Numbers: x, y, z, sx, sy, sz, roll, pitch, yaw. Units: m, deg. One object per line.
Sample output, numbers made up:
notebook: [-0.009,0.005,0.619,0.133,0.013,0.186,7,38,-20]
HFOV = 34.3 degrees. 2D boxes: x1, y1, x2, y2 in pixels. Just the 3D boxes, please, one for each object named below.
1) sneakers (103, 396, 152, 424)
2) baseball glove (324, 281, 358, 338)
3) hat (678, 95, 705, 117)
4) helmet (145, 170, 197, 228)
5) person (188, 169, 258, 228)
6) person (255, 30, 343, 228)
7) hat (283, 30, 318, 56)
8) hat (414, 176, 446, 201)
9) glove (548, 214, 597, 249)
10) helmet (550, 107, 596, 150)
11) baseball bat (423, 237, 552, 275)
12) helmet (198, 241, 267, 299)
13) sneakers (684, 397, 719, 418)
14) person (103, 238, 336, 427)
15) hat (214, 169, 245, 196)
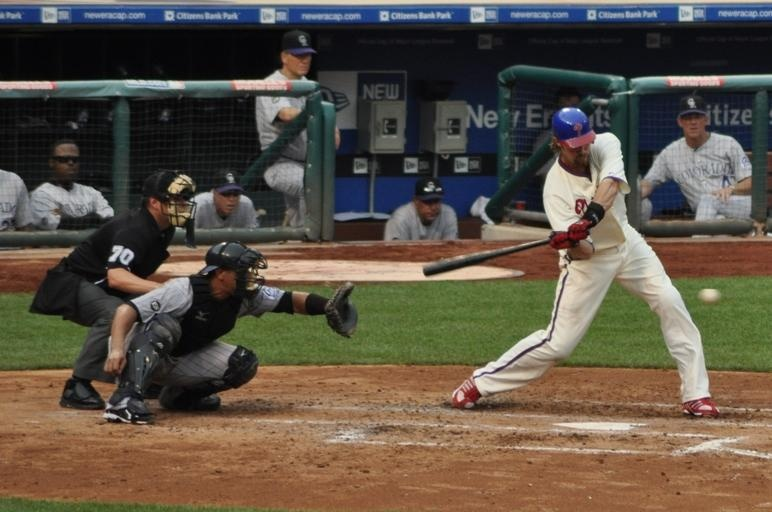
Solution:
sneakers: [-1.902,1.130,9.171,0.351,0.205,0.139,1,3,-8]
baseball glove: [-0.334,0.399,9.390,0.222,0.422,0.222,3,-21,-4]
hat: [3.340,-1.664,13.644,0.249,0.142,0.315,0,-1,16]
helmet: [-1.736,-0.476,9.675,0.487,0.344,0.320,14,0,-5]
person: [-1.696,-0.554,13.166,0.676,0.335,0.754,0,4,-16]
person: [-1.134,-1.377,13.527,0.592,2.097,0.476,1,3,-5]
hat: [-0.997,-2.314,13.475,0.290,0.171,0.409,-7,11,-36]
hat: [0.448,-0.729,13.438,0.309,0.237,0.215,1,3,7]
glove: [1.343,-0.188,9.076,0.325,0.115,0.214,-19,1,-2]
helmet: [1.388,-0.989,9.308,0.286,0.151,0.317,-20,41,-14]
baseball bat: [1.001,0.001,12.338,1.341,0.107,0.154,-11,27,6]
helmet: [-1.212,0.065,9.329,0.660,0.304,0.398,7,6,1]
sneakers: [2.348,1.136,9.379,0.150,0.095,0.284,0,-3,-45]
person: [-1.368,0.560,9.377,1.404,1.334,0.555,1,3,-3]
hat: [-1.653,-0.769,12.943,0.273,0.235,0.173,1,3,-7]
